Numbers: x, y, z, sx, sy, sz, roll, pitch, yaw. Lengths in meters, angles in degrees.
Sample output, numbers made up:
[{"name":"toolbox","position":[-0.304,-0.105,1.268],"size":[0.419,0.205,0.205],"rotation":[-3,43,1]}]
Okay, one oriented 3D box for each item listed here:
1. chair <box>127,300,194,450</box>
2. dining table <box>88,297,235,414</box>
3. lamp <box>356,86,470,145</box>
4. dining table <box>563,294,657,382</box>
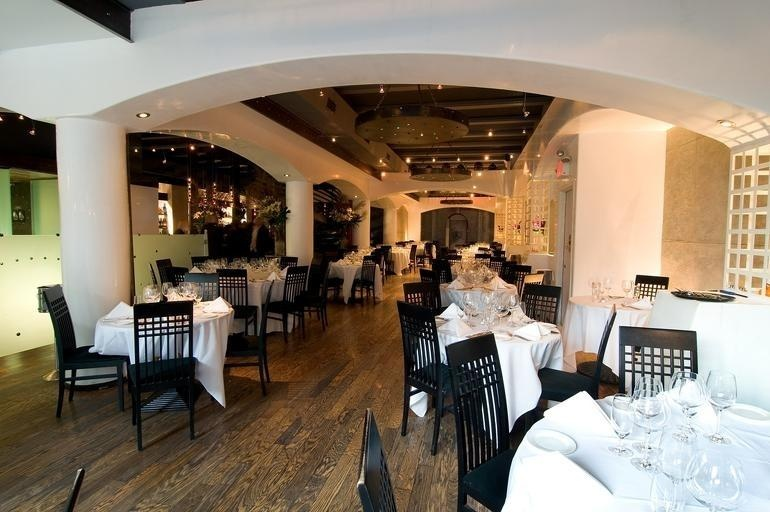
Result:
[{"name":"chair","position":[-2.518,1.246,5.591],"size":[0.677,1.536,0.952],"rotation":[-2,2,-26]},{"name":"dining table","position":[-2.514,1.243,5.559],"size":[0.843,1.502,0.843],"rotation":[-2,0,-2]},{"name":"lamp","position":[0.357,-2.231,8.343],"size":[1.373,0.647,1.398],"rotation":[8,10,40]},{"name":"dining table","position":[2.868,0.960,6.444],"size":[1.059,0.943,1.039],"rotation":[1,-3,18]}]
